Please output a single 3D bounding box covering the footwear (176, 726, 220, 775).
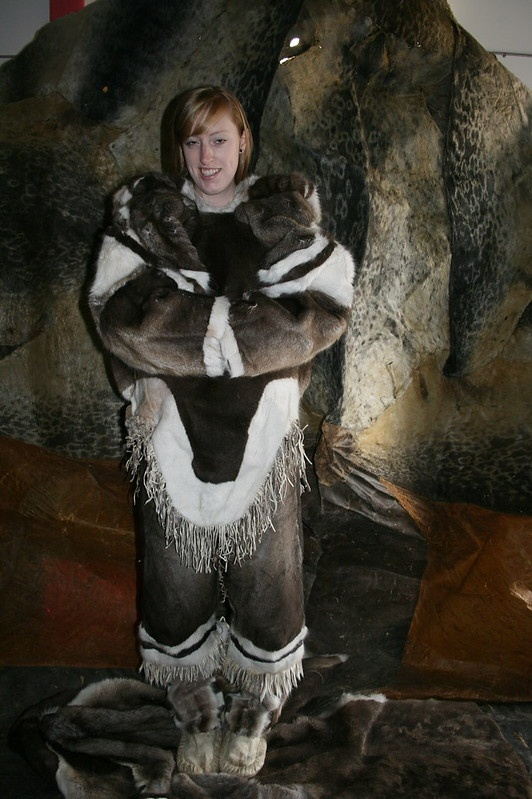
[{"bbox_3d":[-0.186,0.945,2.344,0.091,0.129,0.062,-1,3,0],"label":"footwear"}]

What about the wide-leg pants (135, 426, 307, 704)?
[{"bbox_3d":[-0.114,0.448,2.351,0.443,0.613,0.270,-1,4,0],"label":"wide-leg pants"}]

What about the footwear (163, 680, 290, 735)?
[{"bbox_3d":[-0.097,0.877,2.364,0.319,0.173,0.105,20,25,-12],"label":"footwear"}]
